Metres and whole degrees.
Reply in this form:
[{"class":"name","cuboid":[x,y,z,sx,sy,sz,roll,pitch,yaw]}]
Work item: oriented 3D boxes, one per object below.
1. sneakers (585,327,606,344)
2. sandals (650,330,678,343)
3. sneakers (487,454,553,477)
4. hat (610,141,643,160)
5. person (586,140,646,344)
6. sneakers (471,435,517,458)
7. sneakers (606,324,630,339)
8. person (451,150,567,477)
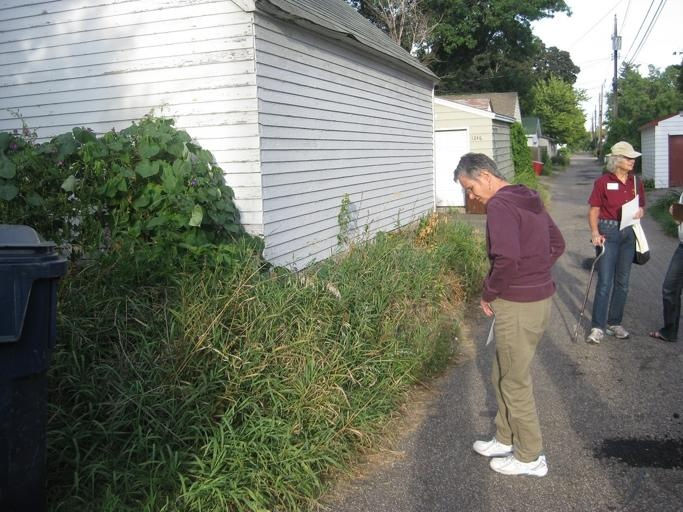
[{"class":"sneakers","cuboid":[3.039,0.955,6.434,0.117,0.126,0.275,1,-1,32]},{"class":"sandals","cuboid":[3.819,0.928,6.360,0.242,0.121,0.103,12,11,41]},{"class":"sneakers","cuboid":[1.370,1.631,4.149,0.426,0.227,0.177,2,2,10]},{"class":"hat","cuboid":[3.438,-1.293,6.637,0.295,0.169,0.409,-5,8,-6]},{"class":"person","cuboid":[3.339,-0.205,6.581,0.582,2.319,1.105,4,13,29]},{"class":"sneakers","cuboid":[1.230,1.565,4.433,0.279,0.153,0.137,3,8,18]},{"class":"sneakers","cuboid":[3.383,0.925,6.593,0.121,0.127,0.259,-10,6,-29]},{"class":"person","cuboid":[1.377,0.565,4.181,0.651,2.190,0.553,-2,11,-1]}]
